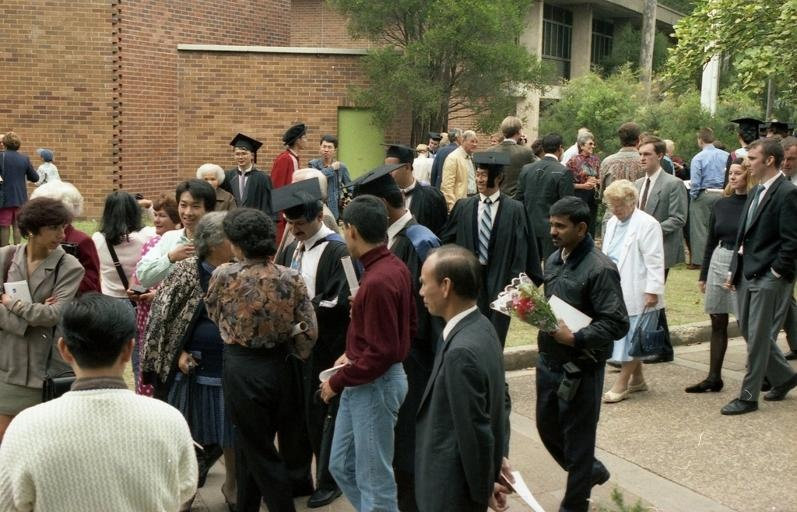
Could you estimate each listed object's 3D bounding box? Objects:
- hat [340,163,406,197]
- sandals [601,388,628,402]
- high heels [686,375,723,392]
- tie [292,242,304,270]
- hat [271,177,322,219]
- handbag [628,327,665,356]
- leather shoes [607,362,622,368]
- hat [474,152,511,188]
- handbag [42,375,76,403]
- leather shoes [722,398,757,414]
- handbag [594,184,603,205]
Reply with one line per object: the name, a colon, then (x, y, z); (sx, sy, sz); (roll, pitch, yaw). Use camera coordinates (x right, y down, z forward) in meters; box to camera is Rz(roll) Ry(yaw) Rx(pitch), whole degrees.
hat: (-0.341, -0.774, 9.416); (0.446, 0.140, 0.427); (-28, 9, -30)
sandals: (2.769, 1.822, 11.146); (0.296, 0.091, 0.146); (5, -7, -31)
high heels: (4.016, 1.700, 11.446); (0.563, 0.212, 0.184); (3, -2, -4)
tie: (-1.097, 0.003, 9.157); (0.126, 0.269, 0.294); (-1, 10, -15)
hat: (-1.070, -0.626, 8.980); (0.526, 0.330, 0.430); (-1, 10, -14)
handbag: (3.106, 1.088, 10.862); (0.538, 0.428, 0.218); (-1, 9, -9)
leather shoes: (2.988, 1.534, 12.081); (0.106, 0.049, 0.131); (11, 8, -12)
hat: (1.134, -1.076, 10.798); (0.459, 0.398, 0.266); (1, -9, 0)
handbag: (-3.502, 1.358, 8.752); (0.417, 0.261, 0.127); (5, 10, 17)
leather shoes: (4.221, 1.880, 10.811); (0.522, 0.193, 0.187); (-1, -4, -15)
handbag: (3.486, -1.097, 15.235); (0.157, 0.370, 0.391); (3, 0, 14)
